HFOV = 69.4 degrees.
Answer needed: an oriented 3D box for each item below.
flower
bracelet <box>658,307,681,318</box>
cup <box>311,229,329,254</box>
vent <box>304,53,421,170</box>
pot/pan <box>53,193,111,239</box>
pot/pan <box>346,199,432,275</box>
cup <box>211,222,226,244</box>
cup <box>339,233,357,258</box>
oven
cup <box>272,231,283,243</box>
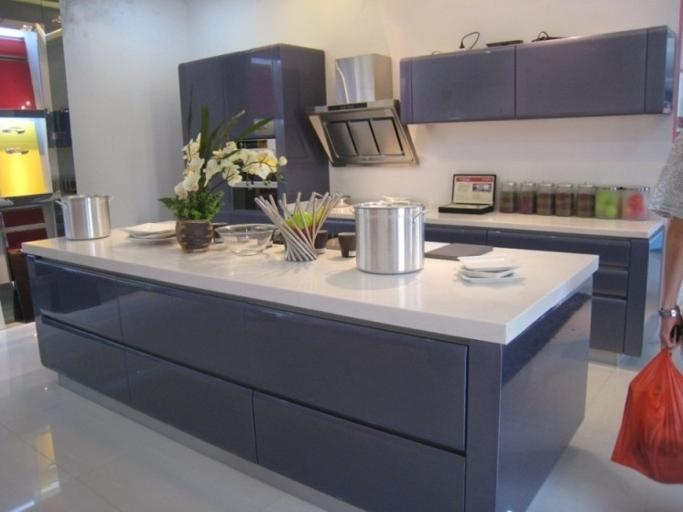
[{"bbox_3d":[-0.700,-0.471,2.668,0.471,0.657,0.411,-9,25,-33],"label":"flower"},{"bbox_3d":[1.313,0.219,1.965,0.060,0.030,0.047,1,6,39],"label":"bracelet"},{"bbox_3d":[-0.096,-0.067,2.517,0.092,0.102,0.101,5,10,19],"label":"cup"},{"bbox_3d":[0.220,-1.352,4.569,1.091,0.996,0.405,5,10,37],"label":"vent"},{"bbox_3d":[-1.616,-0.245,3.064,0.297,0.231,0.305,-3,9,-12],"label":"pot/pan"},{"bbox_3d":[0.216,-0.078,2.121,0.319,0.281,0.289,3,5,45],"label":"pot/pan"},{"bbox_3d":[-0.705,-0.137,2.868,0.117,0.128,0.120,-1,8,0],"label":"cup"},{"bbox_3d":[0.034,-0.048,2.376,0.100,0.107,0.104,1,7,0],"label":"cup"},{"bbox_3d":[-0.879,-0.876,5.159,0.558,0.912,0.697,-6,31,-20],"label":"oven"},{"bbox_3d":[-0.354,-0.108,2.729,0.047,0.085,0.045,1,14,0],"label":"cup"}]
